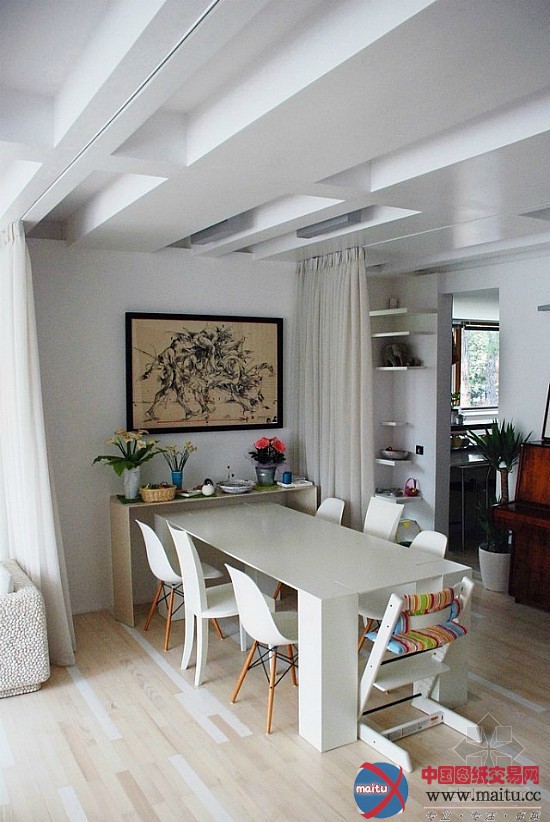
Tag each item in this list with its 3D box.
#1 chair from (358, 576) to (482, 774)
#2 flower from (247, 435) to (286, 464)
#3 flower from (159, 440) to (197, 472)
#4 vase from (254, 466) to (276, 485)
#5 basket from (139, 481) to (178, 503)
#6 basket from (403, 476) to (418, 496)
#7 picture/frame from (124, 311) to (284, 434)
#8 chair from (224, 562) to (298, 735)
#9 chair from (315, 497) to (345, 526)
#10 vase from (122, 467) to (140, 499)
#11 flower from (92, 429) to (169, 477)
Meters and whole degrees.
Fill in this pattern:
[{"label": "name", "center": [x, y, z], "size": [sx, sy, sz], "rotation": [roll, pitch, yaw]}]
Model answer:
[{"label": "chair", "center": [0.597, 1.062, 2.591], "size": [0.457, 0.682, 0.472], "rotation": [-1, -1, -28]}, {"label": "flower", "center": [-0.076, 0.299, 4.581], "size": [0.222, 0.163, 0.222], "rotation": [0, 1, -36]}, {"label": "flower", "center": [-0.726, 0.332, 4.446], "size": [0.225, 0.240, 0.209], "rotation": [0, 1, 17]}, {"label": "vase", "center": [-0.085, 0.493, 4.607], "size": [0.145, 0.116, 0.149], "rotation": [-1, 0, 22]}, {"label": "basket", "center": [-0.824, 0.570, 4.121], "size": [0.250, 0.114, 0.257], "rotation": [-1, -1, -11]}, {"label": "basket", "center": [1.252, 0.694, 5.431], "size": [0.103, 0.178, 0.169], "rotation": [3, 8, 20]}, {"label": "picture/frame", "center": [-0.597, -0.304, 4.491], "size": [0.939, 0.670, 0.021], "rotation": [-2, 4, -30]}, {"label": "chair", "center": [-0.021, 1.150, 2.820], "size": [0.360, 0.562, 0.323], "rotation": [14, -16, 15]}, {"label": "chair", "center": [0.387, 0.687, 4.099], "size": [0.162, 0.255, 0.192], "rotation": [3, 1, 32]}, {"label": "vase", "center": [-0.995, 0.496, 4.069], "size": [0.099, 0.205, 0.075], "rotation": [-1, 0, -25]}, {"label": "flower", "center": [-1.005, 0.274, 4.102], "size": [0.307, 0.243, 0.378], "rotation": [9, 8, 40]}]
